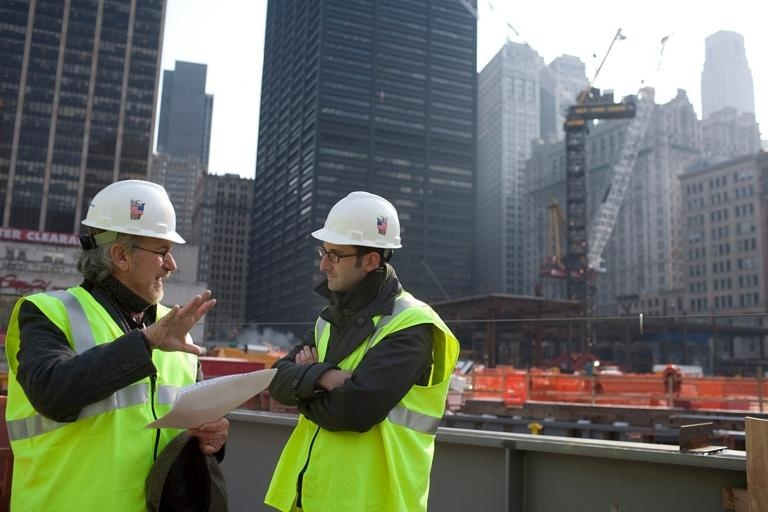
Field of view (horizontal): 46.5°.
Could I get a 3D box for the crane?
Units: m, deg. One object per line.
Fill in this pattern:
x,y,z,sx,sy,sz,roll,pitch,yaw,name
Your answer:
51.116,-10.217,205.684,20.411,75.310,7.705,5,9,34,crane
